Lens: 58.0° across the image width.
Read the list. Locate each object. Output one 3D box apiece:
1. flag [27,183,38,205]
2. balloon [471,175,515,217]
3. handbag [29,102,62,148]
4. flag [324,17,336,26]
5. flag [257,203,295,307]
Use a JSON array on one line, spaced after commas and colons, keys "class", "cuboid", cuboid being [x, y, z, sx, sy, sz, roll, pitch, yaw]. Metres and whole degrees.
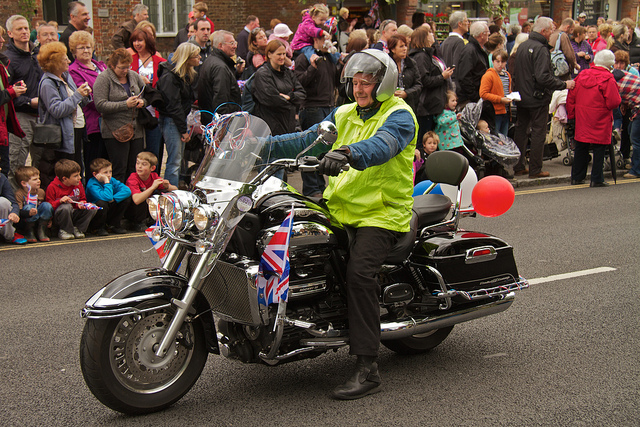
[{"class": "flag", "cuboid": [-4.314, -0.285, 8.627, 0.127, 0.300, 0.109, -5, 11, -22]}, {"class": "balloon", "cuboid": [1.769, -0.194, 5.923, 0.394, 0.504, 0.415, -4, -5, 21]}, {"class": "handbag", "cuboid": [-4.461, -1.423, 9.208, 0.371, 0.702, 0.975, -9, 14, -40]}, {"class": "flag", "cuboid": [0.197, -3.889, 11.630, 0.117, 0.224, 0.562, 2, 11, 11]}, {"class": "flag", "cuboid": [-0.345, 0.324, 4.471, 0.241, 0.992, 0.102, 5, 20, -8]}]
